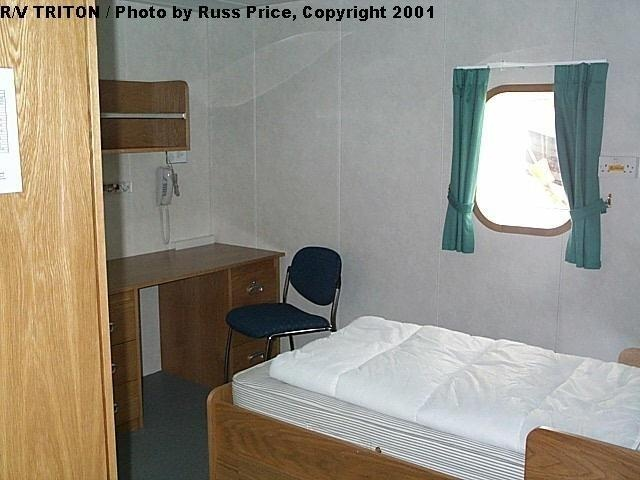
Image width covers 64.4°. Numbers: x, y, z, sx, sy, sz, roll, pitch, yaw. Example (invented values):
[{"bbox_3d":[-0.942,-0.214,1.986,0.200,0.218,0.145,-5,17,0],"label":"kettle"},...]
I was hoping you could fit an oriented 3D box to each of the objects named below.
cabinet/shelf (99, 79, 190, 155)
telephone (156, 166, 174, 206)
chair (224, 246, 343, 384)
[{"bbox_3d":[-1.257,-0.945,3.995,0.765,0.524,0.430,3,8,16],"label":"cabinet/shelf"},{"bbox_3d":[-1.262,-0.439,4.123,0.154,0.319,0.111,-7,14,-15],"label":"telephone"},{"bbox_3d":[-0.283,0.619,3.720,0.741,1.091,0.716,-2,11,-25],"label":"chair"}]
